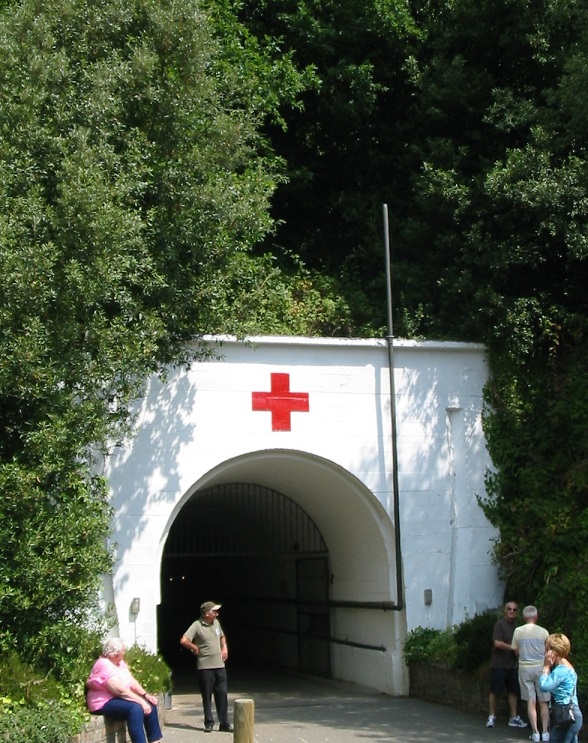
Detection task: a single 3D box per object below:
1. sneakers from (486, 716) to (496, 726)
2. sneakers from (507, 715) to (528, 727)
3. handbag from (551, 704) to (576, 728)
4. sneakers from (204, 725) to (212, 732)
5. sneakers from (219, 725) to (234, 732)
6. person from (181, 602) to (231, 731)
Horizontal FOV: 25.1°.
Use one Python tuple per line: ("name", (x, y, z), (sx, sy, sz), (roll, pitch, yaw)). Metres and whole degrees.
("sneakers", (2.460, 4.301, 16.259), (0.072, 0.091, 0.200), (-1, -23, 2))
("sneakers", (2.767, 4.272, 16.146), (0.224, 0.096, 0.095), (-11, -7, 36))
("handbag", (2.629, 3.297, 12.702), (0.202, 0.187, 0.097), (-22, -28, 37))
("sneakers", (-1.038, 4.330, 16.068), (0.096, 0.064, 0.155), (0, -9, -7))
("sneakers", (-0.813, 4.303, 16.017), (0.168, 0.115, 0.077), (1, -4, -7))
("person", (-1.095, 3.681, 16.621), (0.580, 1.532, 1.395), (-1, -9, -4))
